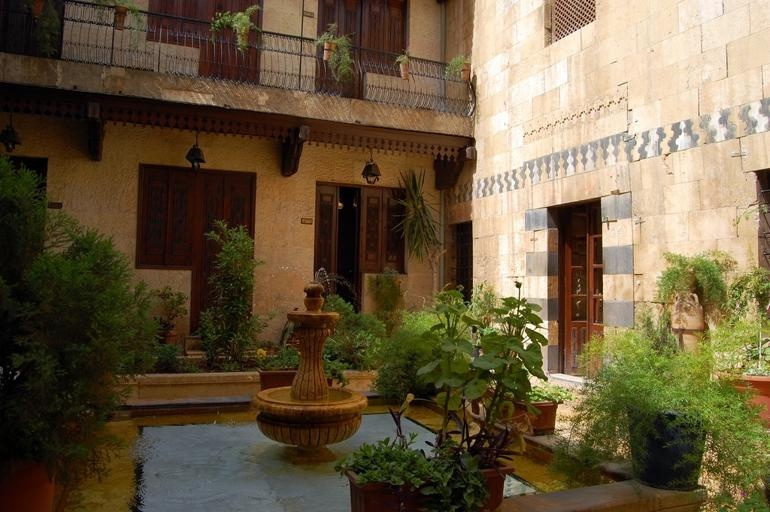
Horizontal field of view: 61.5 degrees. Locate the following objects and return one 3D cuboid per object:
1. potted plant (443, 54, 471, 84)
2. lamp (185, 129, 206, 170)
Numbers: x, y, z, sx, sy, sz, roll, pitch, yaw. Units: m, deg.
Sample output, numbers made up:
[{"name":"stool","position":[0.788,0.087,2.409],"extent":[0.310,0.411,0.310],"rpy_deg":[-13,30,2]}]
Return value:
[{"name":"potted plant","position":[1.437,-3.786,13.202],"extent":[0.462,0.562,0.569],"rpy_deg":[3,7,34]},{"name":"lamp","position":[-3.615,-2.059,12.374],"extent":[0.357,0.789,0.799],"rpy_deg":[3,-4,-18]}]
